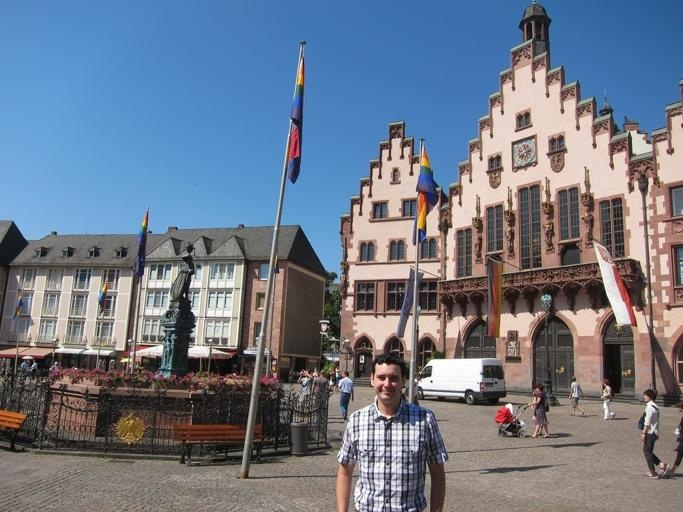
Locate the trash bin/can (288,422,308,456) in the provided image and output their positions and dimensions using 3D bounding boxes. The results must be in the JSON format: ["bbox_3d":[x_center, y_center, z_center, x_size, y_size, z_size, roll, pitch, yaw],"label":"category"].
[{"bbox_3d":[-1.315,5.627,17.471,0.820,1.187,0.803,1,-14,-3],"label":"trash bin/can"}]

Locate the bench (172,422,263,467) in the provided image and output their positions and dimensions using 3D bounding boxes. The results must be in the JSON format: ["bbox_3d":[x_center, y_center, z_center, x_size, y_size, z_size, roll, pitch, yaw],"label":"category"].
[{"bbox_3d":[-3.343,5.256,15.928,2.627,1.014,0.793,3,-12,-14],"label":"bench"}]

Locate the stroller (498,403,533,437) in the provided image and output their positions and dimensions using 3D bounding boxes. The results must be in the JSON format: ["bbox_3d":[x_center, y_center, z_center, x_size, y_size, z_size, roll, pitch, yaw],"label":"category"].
[{"bbox_3d":[6.314,6.133,21.129,1.022,1.156,1.115,-3,-15,14],"label":"stroller"}]

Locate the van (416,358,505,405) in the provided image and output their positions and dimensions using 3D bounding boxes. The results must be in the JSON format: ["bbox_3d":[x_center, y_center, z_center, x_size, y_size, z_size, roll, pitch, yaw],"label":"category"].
[{"bbox_3d":[7.283,7.658,34.609,2.601,2.152,5.226,12,-17,-38],"label":"van"}]
